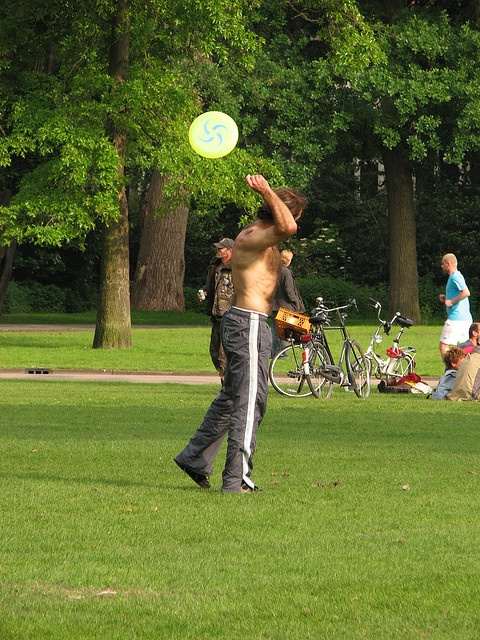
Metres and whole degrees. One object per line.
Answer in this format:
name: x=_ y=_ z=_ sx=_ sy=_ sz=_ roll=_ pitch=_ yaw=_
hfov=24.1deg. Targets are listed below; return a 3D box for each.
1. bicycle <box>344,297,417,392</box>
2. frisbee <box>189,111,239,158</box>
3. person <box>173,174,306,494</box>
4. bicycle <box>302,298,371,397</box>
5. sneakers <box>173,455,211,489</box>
bicycle: x=1.970 y=0.448 z=16.417 sx=0.763 sy=1.481 sz=1.413 roll=-7 pitch=-8 yaw=41
frisbee: x=-0.217 y=-1.459 z=8.841 sx=0.360 sy=0.432 sz=0.449 roll=3 pitch=-2 yaw=-5
person: x=0.027 y=0.085 z=6.914 sx=0.785 sy=1.967 sz=0.520 roll=2 pitch=-2 yaw=33
bicycle: x=1.229 y=0.388 z=14.464 sx=0.874 sy=1.283 sz=0.866 roll=3 pitch=-2 yaw=7
sneakers: x=-0.303 y=0.960 z=7.098 sx=0.202 sy=0.065 sz=0.083 roll=52 pitch=15 yaw=10
